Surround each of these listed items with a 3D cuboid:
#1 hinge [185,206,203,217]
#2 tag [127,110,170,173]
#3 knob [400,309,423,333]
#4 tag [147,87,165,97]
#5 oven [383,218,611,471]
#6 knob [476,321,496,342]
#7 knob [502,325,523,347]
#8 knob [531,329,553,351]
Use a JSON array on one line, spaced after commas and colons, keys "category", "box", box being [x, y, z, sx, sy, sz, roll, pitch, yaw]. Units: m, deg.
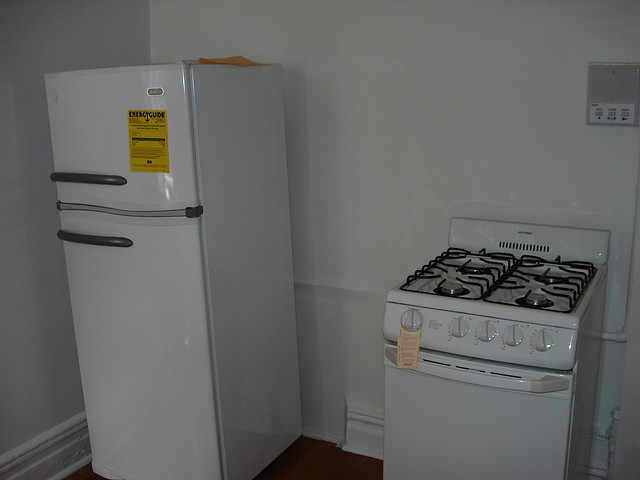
[{"category": "hinge", "box": [-0.505, -0.115, 2.222, 0.044, 0.029, 0.046, -1, 1, 24]}, {"category": "tag", "box": [-0.678, -0.405, 2.212, 0.213, 0.312, 0.013, 6, 17, 19]}, {"category": "knob", "box": [0.312, 0.275, 1.915, 0.060, 0.083, 0.019, 0, -5, 23]}, {"category": "tag", "box": [-0.644, -0.584, 2.170, 0.084, 0.030, 0.003, -1, 13, 19]}, {"category": "oven", "box": [0.662, 0.427, 2.103, 0.697, 0.923, 0.651, 4, 11, 26]}, {"category": "knob", "box": [0.542, 0.301, 1.827, 0.061, 0.062, 0.023, 3, 10, 18]}, {"category": "knob", "box": [0.619, 0.310, 1.795, 0.063, 0.064, 0.027, 3, 10, 20]}, {"category": "knob", "box": [0.700, 0.316, 1.762, 0.063, 0.061, 0.023, 3, 11, 22]}]
